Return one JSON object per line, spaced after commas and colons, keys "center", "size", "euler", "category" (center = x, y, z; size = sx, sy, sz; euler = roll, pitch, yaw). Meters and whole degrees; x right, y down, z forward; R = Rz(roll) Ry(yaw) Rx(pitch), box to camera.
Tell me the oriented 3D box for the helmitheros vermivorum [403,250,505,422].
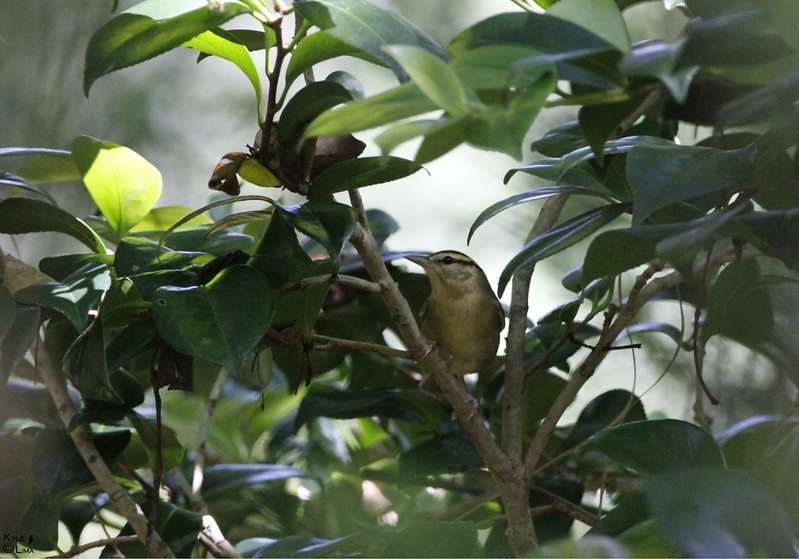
{"center": [0.152, 0.110, 3.352], "size": [0.426, 0.541, 0.243], "euler": [32, -55, -28], "category": "helmitheros vermivorum"}
